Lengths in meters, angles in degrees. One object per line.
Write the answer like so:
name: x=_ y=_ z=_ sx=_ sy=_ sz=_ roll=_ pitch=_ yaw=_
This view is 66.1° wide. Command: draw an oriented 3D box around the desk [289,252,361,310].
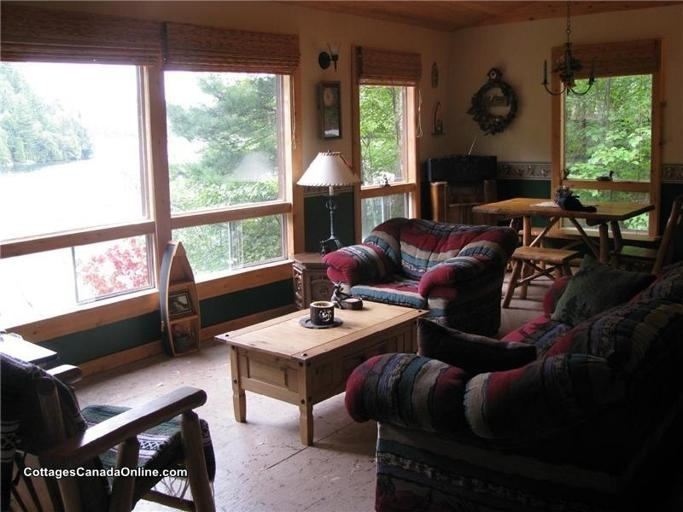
desk: x=-0.215 y=0.295 z=5.124 sx=0.468 sy=0.496 sz=0.436 roll=0 pitch=10 yaw=-4

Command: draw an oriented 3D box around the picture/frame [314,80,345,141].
picture/frame: x=-0.128 y=-1.528 z=5.523 sx=0.113 sy=0.587 sz=0.351 roll=5 pitch=17 yaw=29

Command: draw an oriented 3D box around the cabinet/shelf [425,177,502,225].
cabinet/shelf: x=1.580 y=-0.711 z=6.960 sx=0.951 sy=0.822 sz=0.543 roll=-2 pitch=5 yaw=-6

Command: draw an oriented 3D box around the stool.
stool: x=2.093 y=0.069 z=5.405 sx=0.789 sy=0.630 sz=0.769 roll=6 pitch=18 yaw=24

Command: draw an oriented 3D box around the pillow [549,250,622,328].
pillow: x=1.525 y=0.210 z=3.245 sx=0.130 sy=0.386 sz=0.422 roll=24 pitch=-7 yaw=-13

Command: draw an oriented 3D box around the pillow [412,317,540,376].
pillow: x=0.643 y=0.436 z=2.566 sx=0.440 sy=0.121 sz=0.428 roll=10 pitch=10 yaw=12

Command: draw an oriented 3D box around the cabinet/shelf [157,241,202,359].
cabinet/shelf: x=-1.370 y=0.346 z=4.392 sx=0.323 sy=0.944 sz=0.240 roll=-14 pitch=18 yaw=-34

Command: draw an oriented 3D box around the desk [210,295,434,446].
desk: x=-0.199 y=0.395 z=3.373 sx=0.853 sy=0.594 sz=1.353 roll=6 pitch=10 yaw=38

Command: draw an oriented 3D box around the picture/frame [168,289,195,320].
picture/frame: x=-1.345 y=0.403 z=4.407 sx=0.264 sy=0.223 sz=0.141 roll=-8 pitch=3 yaw=-43
